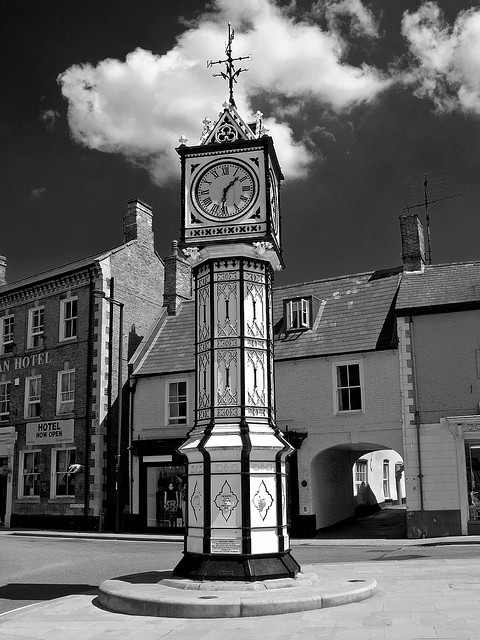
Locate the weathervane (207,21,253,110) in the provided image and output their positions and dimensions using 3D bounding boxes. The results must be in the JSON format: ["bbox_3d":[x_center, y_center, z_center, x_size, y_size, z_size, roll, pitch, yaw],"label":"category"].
[{"bbox_3d":[-0.196,-4.517,14.533,0.223,1.401,0.740,-22,33,-35],"label":"weathervane"}]

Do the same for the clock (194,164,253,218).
[{"bbox_3d":[-0.275,-2.233,14.001,1.100,1.229,0.086,-4,-19,8],"label":"clock"}]
